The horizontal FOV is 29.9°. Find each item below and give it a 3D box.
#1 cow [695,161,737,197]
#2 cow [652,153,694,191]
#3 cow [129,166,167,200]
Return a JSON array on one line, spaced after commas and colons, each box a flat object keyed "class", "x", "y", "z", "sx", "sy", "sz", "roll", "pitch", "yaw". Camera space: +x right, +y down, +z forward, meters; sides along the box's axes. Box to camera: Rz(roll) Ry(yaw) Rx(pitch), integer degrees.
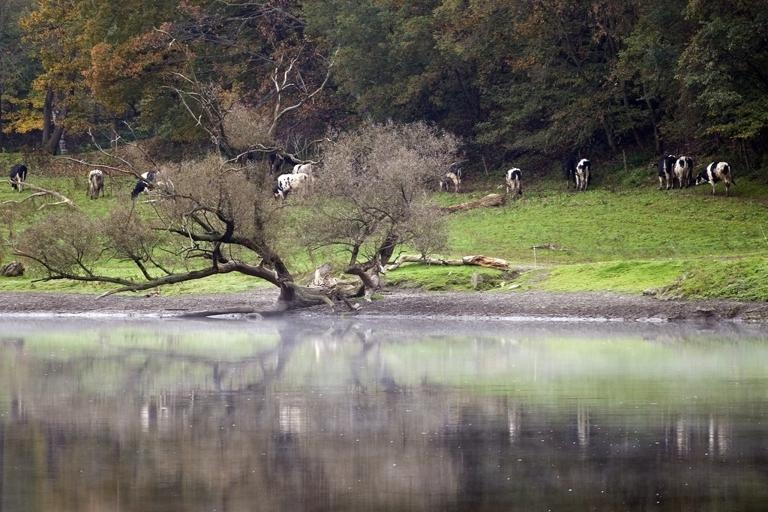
[{"class": "cow", "x": 22.836, "y": -5.433, "z": 98.736, "sx": 2.096, "sy": 2.184, "sz": 3.712, "roll": -6, "pitch": -2, "yaw": -1}, {"class": "cow", "x": 20.302, "y": -6.006, "z": 101.196, "sx": 1.615, "sy": 2.246, "sz": 3.226, "roll": -5, "pitch": -2, "yaw": -30}, {"class": "cow", "x": -15.234, "y": -4.763, "z": 92.622, "sx": 2.924, "sy": 0.855, "sz": 2.020, "roll": -39, "pitch": 6, "yaw": -23}]
